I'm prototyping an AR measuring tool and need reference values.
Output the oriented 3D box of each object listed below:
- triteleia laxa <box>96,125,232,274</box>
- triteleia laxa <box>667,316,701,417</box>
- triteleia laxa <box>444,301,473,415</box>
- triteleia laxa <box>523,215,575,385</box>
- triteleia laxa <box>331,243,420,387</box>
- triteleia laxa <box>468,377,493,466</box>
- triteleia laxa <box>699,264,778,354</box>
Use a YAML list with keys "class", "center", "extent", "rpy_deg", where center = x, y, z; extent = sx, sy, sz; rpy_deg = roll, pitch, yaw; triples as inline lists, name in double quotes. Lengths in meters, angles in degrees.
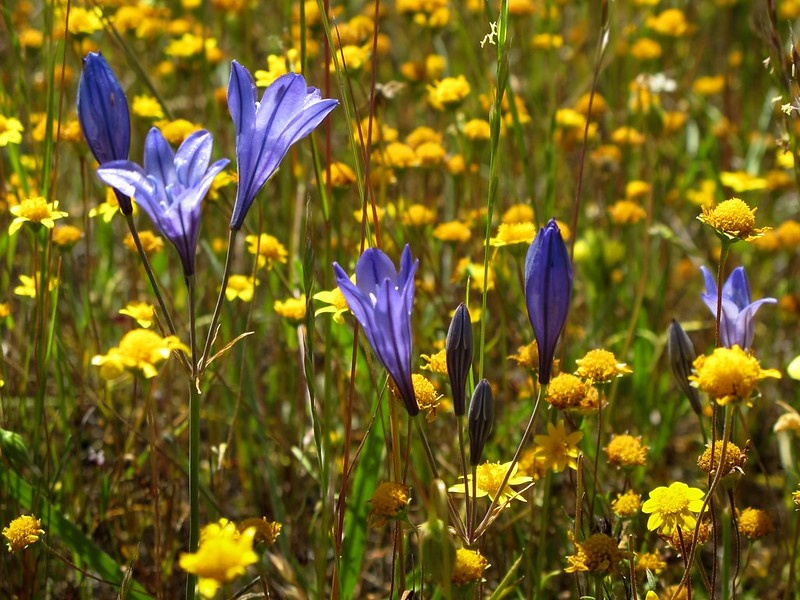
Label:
- class: "triteleia laxa"
  center: [-0.509, -0.225, 2.074]
  extent: [0.301, 0.343, 0.163]
  rpy_deg: [-2, 5, 7]
- class: "triteleia laxa"
  center: [0.710, 0.175, 2.272]
  extent: [0.079, 0.277, 0.282]
  rpy_deg: [0, 6, 18]
- class: "triteleia laxa"
  center: [0.144, 0.142, 2.159]
  extent: [0.047, 0.271, 0.054]
  rpy_deg: [11, 20, 28]
- class: "triteleia laxa"
  center: [0.358, 0.001, 2.166]
  extent: [0.103, 0.386, 0.140]
  rpy_deg: [0, 6, 24]
- class: "triteleia laxa"
  center: [-0.028, 0.065, 2.126]
  extent: [0.159, 0.370, 0.216]
  rpy_deg: [-17, 3, -17]
- class: "triteleia laxa"
  center: [0.191, 0.289, 2.176]
  extent: [0.054, 0.218, 0.144]
  rpy_deg: [-2, 6, 4]
- class: "triteleia laxa"
  center: [0.826, 0.018, 2.254]
  extent: [0.153, 0.208, 0.214]
  rpy_deg: [-1, 6, 13]
